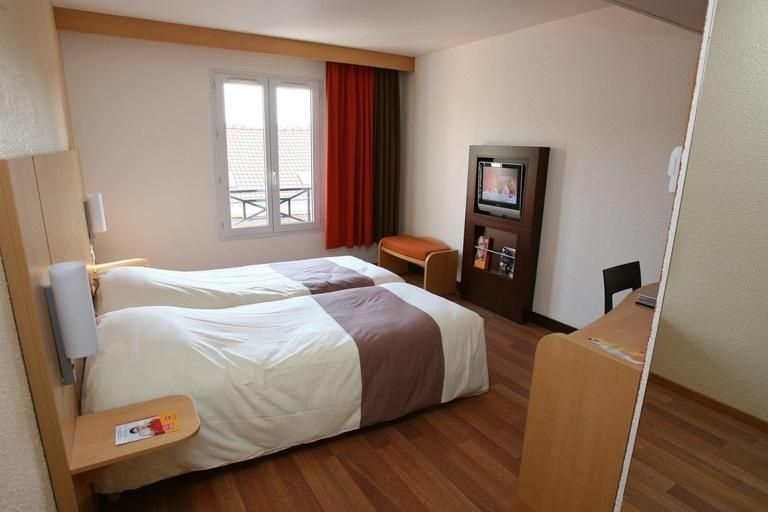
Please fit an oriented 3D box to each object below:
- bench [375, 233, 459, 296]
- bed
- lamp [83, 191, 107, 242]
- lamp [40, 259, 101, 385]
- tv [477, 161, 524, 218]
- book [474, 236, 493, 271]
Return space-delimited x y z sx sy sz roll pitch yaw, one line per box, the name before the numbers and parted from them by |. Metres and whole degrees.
bench | 0.383 0.079 6.171 0.482 0.536 1.008 -8 16 -32
bed | -0.667 0.624 3.436 1.799 0.635 1.774 -7 15 -26
lamp | -2.432 -0.324 4.312 0.134 0.378 0.185 -11 17 -29
lamp | -1.511 0.337 2.506 0.201 0.607 0.113 -4 15 -8
tv | 1.176 -0.668 5.097 0.180 0.499 0.503 -11 20 -31
book | 1.061 -0.024 5.431 0.070 0.430 0.244 -7 21 -32
